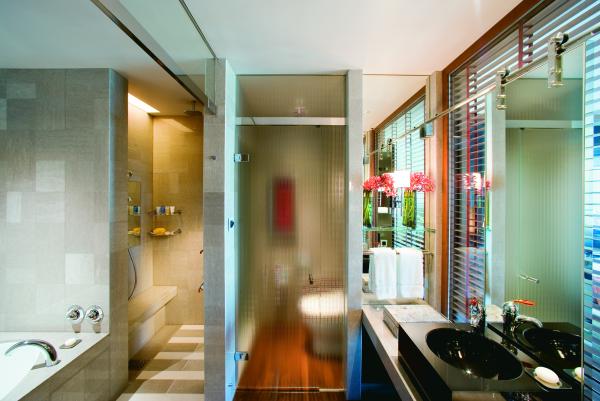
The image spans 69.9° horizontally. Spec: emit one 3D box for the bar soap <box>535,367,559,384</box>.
[{"bbox_3d":[1.704,1.209,2.958,0.097,0.067,0.123,17,-3,-29],"label":"bar soap"}]

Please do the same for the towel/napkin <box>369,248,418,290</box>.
[{"bbox_3d":[0.921,0.711,4.191,0.503,0.425,0.278,1,-3,-11],"label":"towel/napkin"}]

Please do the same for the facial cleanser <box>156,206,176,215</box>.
[{"bbox_3d":[-1.559,0.112,4.960,0.211,0.097,0.116,-2,0,-17],"label":"facial cleanser"}]

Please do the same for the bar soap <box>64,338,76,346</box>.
[{"bbox_3d":[-2.001,1.227,3.726,0.062,0.016,0.063,1,4,-8],"label":"bar soap"}]

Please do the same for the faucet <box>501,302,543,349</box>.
[{"bbox_3d":[1.660,0.903,3.209,0.120,0.361,0.292,-7,8,-40],"label":"faucet"}]

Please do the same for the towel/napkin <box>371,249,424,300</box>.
[{"bbox_3d":[0.914,0.707,4.198,0.528,0.444,0.296,1,-1,-12],"label":"towel/napkin"}]

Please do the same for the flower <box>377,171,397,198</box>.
[{"bbox_3d":[0.849,-0.145,4.180,0.216,0.214,0.144,25,33,37],"label":"flower"}]

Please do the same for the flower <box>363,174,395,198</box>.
[{"bbox_3d":[0.799,-0.145,4.267,0.251,0.157,0.246,0,0,6],"label":"flower"}]

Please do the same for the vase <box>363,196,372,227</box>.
[{"bbox_3d":[0.670,0.081,4.207,0.095,0.346,0.088,3,-8,-21],"label":"vase"}]

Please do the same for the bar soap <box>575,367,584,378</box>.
[{"bbox_3d":[1.899,1.162,2.907,0.033,0.079,0.072,-3,0,4],"label":"bar soap"}]

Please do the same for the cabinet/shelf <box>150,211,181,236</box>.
[{"bbox_3d":[-1.585,0.261,4.976,0.306,0.282,0.155,0,0,-5],"label":"cabinet/shelf"}]

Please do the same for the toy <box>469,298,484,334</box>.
[{"bbox_3d":[1.400,0.910,3.374,0.111,0.275,0.078,-3,0,25],"label":"toy"}]
